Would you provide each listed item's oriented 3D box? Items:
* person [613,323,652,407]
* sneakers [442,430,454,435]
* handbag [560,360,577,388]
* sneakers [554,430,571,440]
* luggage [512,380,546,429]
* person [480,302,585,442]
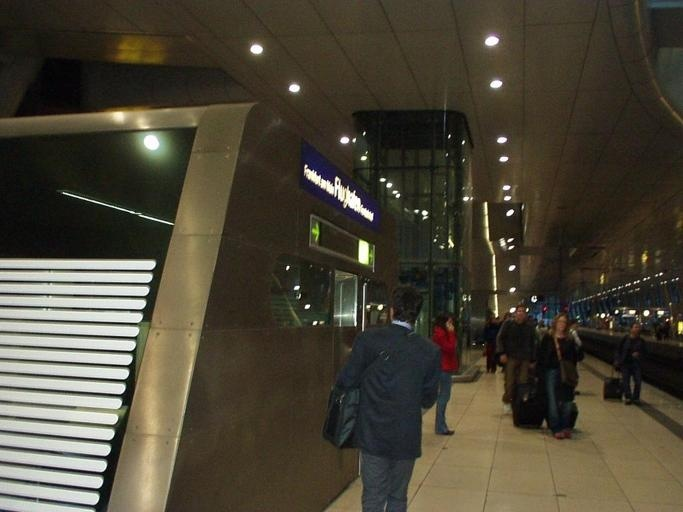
[{"bbox_3d":[5.738,2.134,11.356,0.494,1.616,0.573,-1,-4,26],"label":"person"},{"bbox_3d":[1.553,2.590,8.345,0.200,0.089,0.072,-2,3,-5],"label":"sneakers"},{"bbox_3d":[3.237,1.687,8.148,0.316,0.326,0.132,10,-21,-37],"label":"handbag"},{"bbox_3d":[3.216,2.581,8.221,0.289,0.106,0.194,2,-5,-7],"label":"sneakers"},{"bbox_3d":[2.950,2.279,8.893,0.425,0.695,0.355,-8,-32,37],"label":"luggage"},{"bbox_3d":[3.062,1.743,8.776,0.670,1.886,1.444,2,-4,-15],"label":"person"}]
